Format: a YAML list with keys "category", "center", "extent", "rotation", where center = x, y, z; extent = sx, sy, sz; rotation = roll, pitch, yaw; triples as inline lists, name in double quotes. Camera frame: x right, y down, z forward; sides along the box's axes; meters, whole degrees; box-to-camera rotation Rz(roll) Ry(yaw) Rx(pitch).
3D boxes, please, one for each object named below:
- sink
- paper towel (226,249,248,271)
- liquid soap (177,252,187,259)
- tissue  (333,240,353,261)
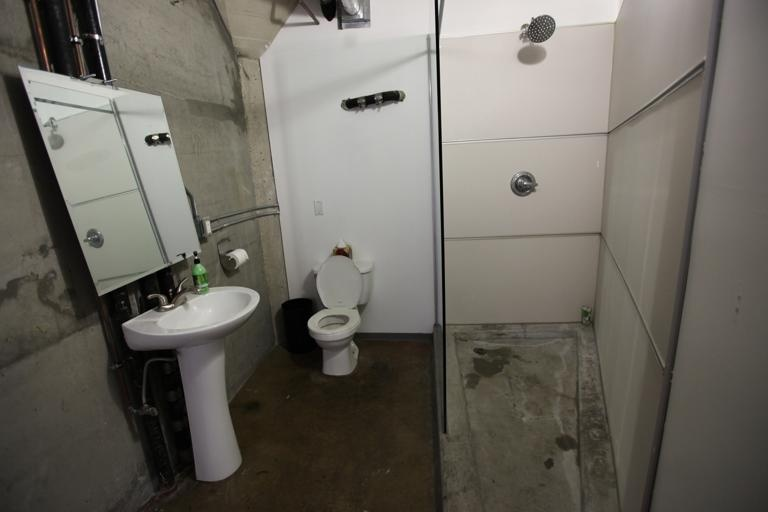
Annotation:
- category: "sink"
  center: [-1.003, 0.370, 3.081]
  extent: [0.615, 0.224, 0.745]
  rotation: [0, 17, 16]
- category: "paper towel"
  center: [-1.004, -0.001, 3.681]
  extent: [0.097, 0.102, 0.205]
  rotation: [-2, 20, 14]
- category: "liquid soap"
  center: [-1.203, -0.009, 3.180]
  extent: [0.033, 0.023, 0.035]
  rotation: [1, 13, -1]
- category: "tissue "
  center: [-0.326, -0.056, 4.230]
  extent: [0.127, 0.157, 0.141]
  rotation: [-1, 4, 2]
